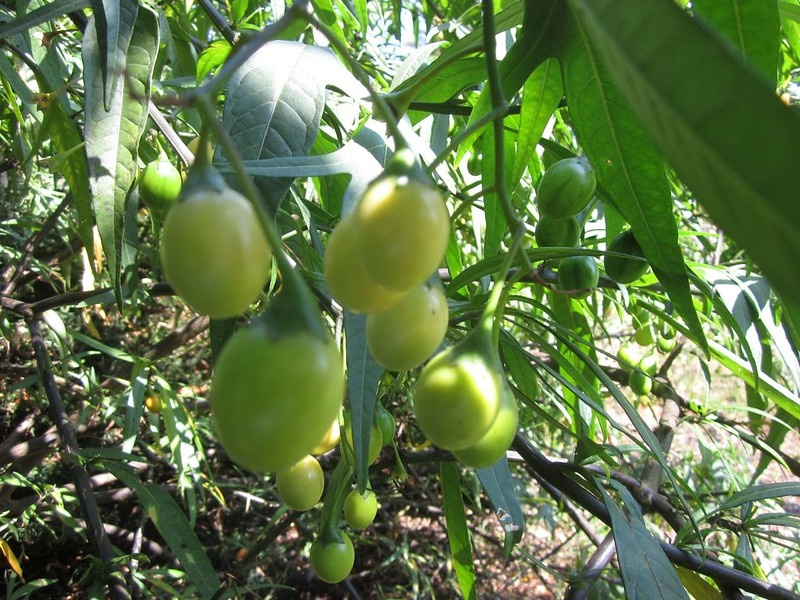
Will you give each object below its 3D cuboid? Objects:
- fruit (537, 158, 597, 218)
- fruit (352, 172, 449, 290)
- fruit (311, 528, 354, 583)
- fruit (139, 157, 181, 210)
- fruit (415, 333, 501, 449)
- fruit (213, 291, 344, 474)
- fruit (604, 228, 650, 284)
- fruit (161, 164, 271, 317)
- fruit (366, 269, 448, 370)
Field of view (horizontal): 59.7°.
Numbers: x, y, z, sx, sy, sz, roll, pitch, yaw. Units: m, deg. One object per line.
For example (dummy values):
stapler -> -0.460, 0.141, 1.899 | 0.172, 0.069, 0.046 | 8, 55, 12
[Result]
fruit -> 0.226, -0.150, 0.955 | 0.089, 0.088, 0.074 | 10, 2, 4
fruit -> 0.002, -0.072, 0.685 | 0.075, 0.079, 0.107 | 18, 43, -13
fruit -> -0.097, 0.365, 0.991 | 0.056, 0.076, 0.059 | -3, 10, -15
fruit -> -0.353, -0.177, 1.031 | 0.053, 0.088, 0.056 | 2, 9, -25
fruit -> 0.057, 0.088, 0.675 | 0.051, 0.063, 0.129 | -16, 22, 25
fruit -> -0.123, 0.097, 0.673 | 0.127, 0.136, 0.182 | -8, -7, 10
fruit -> 0.310, -0.056, 0.962 | 0.057, 0.089, 0.049 | 15, 13, 39
fruit -> -0.173, -0.058, 0.661 | 0.087, 0.164, 0.097 | 5, 20, 14
fruit -> 0.004, 0.025, 0.733 | 0.089, 0.113, 0.132 | 7, -5, -11
